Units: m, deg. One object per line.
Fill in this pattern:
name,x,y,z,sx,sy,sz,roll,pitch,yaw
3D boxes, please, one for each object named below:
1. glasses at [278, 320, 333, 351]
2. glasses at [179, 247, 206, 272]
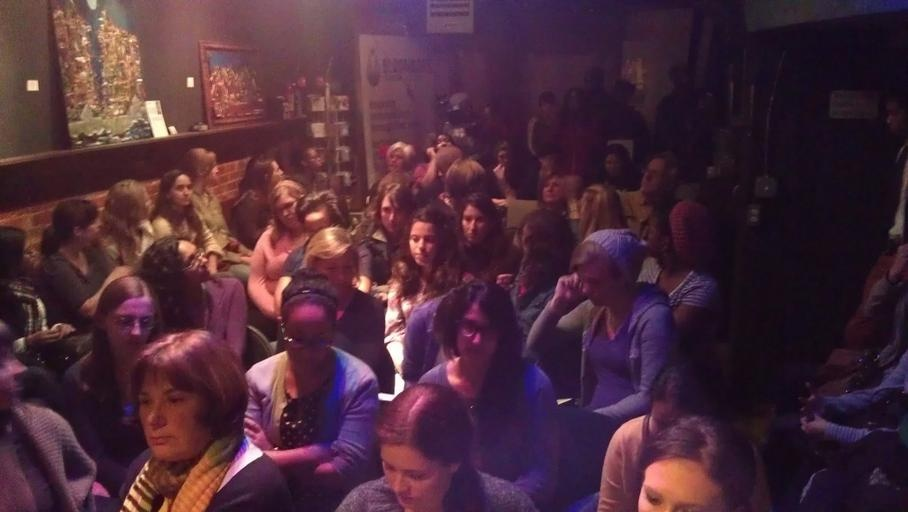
glasses,-0.776,0.420,3.571,0.310,0.167,0.096,1,13,18
glasses,-1.438,0.016,3.866,0.137,0.042,0.130,27,8,4
